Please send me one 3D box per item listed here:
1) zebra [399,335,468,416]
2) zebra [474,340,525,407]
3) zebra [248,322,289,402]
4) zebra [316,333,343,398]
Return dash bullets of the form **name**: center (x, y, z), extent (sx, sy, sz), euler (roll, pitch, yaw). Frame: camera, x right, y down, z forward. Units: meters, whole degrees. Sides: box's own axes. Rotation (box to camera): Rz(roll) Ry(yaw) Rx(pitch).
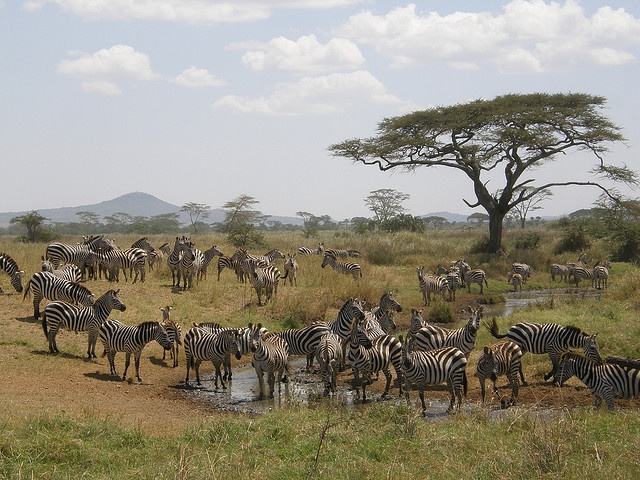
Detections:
- **zebra**: center (2.978, 3.563, 22.984), extent (1.709, 1.776, 0.868), euler (3, 14, 8)
- **zebra**: center (4.778, 3.500, 23.326), extent (1.322, 1.481, 1.057), euler (-3, 14, -16)
- **zebra**: center (-1.379, 3.152, 24.234), extent (0.817, 2.149, 1.570), euler (4, 14, 13)
- **zebra**: center (0.263, 3.529, 24.246), extent (0.661, 1.476, 1.540), euler (1, 14, 1)
